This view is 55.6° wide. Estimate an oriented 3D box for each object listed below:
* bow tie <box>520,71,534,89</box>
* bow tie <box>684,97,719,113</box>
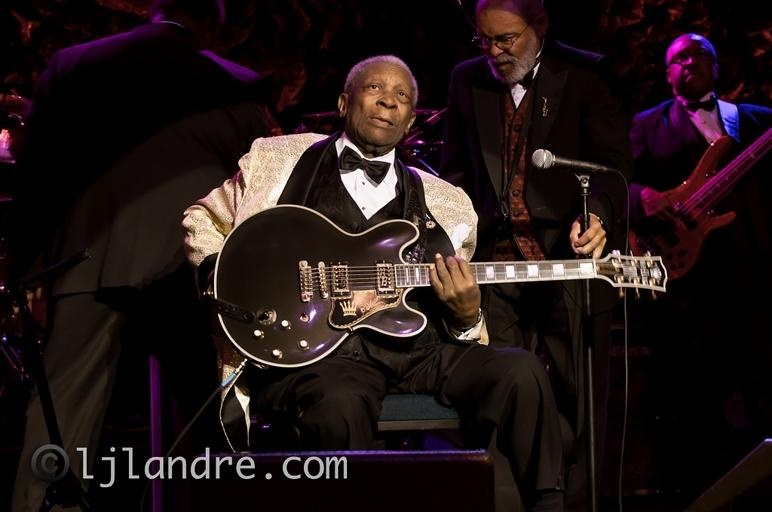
[{"bbox_3d":[0.945,-1.165,4.841,0.063,0.131,0.019,21,11,8],"label":"bow tie"},{"bbox_3d":[2.350,-1.105,5.409,0.171,0.042,0.121,-6,4,0],"label":"bow tie"}]
